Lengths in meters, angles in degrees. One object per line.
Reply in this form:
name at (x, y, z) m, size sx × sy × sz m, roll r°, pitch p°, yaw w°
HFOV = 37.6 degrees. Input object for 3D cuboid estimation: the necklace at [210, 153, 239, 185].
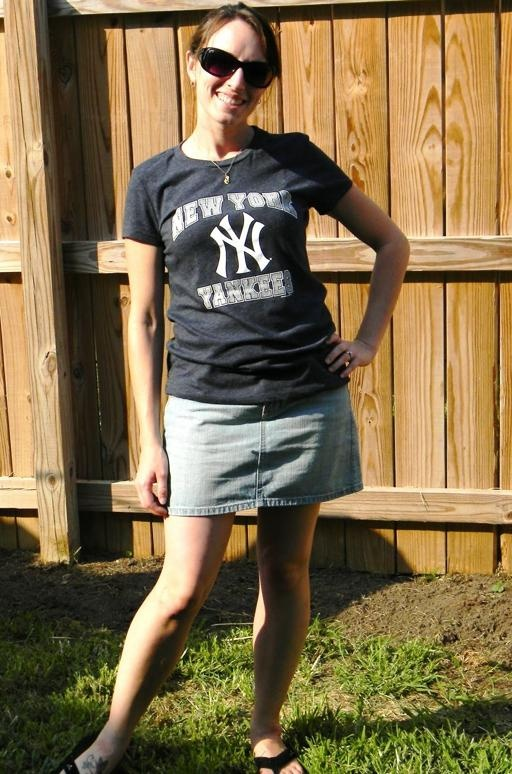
necklace at (-0.070, -0.497, 1.714) m, size 0.066 × 0.076 × 0.042 m, roll 1°, pitch 2°, yaw -5°

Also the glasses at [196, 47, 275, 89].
glasses at (-0.045, -0.731, 1.721) m, size 0.155 × 0.084 × 0.047 m, roll 1°, pitch 2°, yaw -5°

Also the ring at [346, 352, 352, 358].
ring at (0.232, -0.081, 1.855) m, size 0.006 × 0.013 × 0.012 m, roll 9°, pitch -8°, yaw -42°
